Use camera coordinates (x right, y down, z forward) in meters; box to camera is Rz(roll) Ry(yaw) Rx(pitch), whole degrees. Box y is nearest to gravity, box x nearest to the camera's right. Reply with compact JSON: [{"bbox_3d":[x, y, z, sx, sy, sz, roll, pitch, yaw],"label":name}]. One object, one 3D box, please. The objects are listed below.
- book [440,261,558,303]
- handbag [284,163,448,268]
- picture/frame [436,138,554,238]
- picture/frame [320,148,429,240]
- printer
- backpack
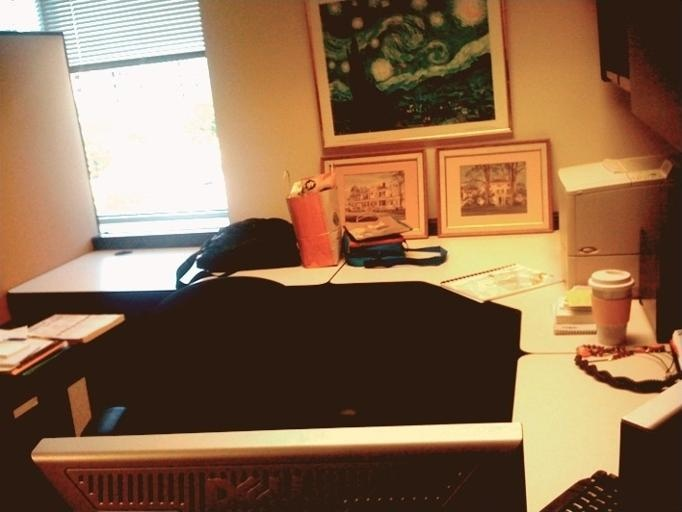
[{"bbox_3d":[0.585,0.091,2.032,0.384,0.188,0.246,2,-14,-18],"label":"book"},{"bbox_3d":[0.101,-0.178,2.436,0.604,0.403,0.446,-3,20,-3],"label":"handbag"},{"bbox_3d":[0.767,-0.343,2.644,0.497,0.409,0.040,-1,2,11],"label":"picture/frame"},{"bbox_3d":[0.183,-0.301,2.681,0.489,0.406,0.039,0,10,13],"label":"picture/frame"},{"bbox_3d":[0.828,-0.166,1.938,0.469,0.607,0.441,2,15,16],"label":"printer"},{"bbox_3d":[-0.474,-0.040,2.558,0.451,0.132,0.348,-6,25,1],"label":"backpack"}]
